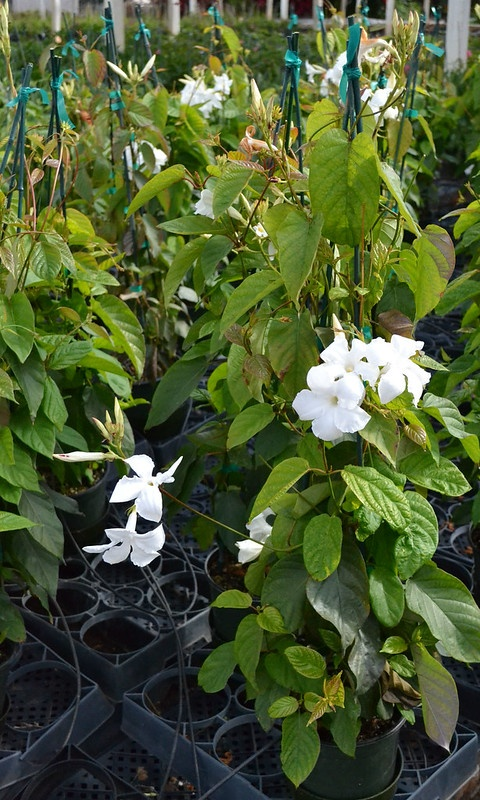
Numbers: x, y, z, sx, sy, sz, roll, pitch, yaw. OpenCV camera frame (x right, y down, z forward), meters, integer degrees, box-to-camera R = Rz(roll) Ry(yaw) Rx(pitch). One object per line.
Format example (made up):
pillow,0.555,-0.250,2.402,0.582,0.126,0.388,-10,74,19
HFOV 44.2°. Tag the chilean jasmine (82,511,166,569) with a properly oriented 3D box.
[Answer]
chilean jasmine,-0.136,0.170,0.777,0.090,0.042,0.107,-18,-2,8
